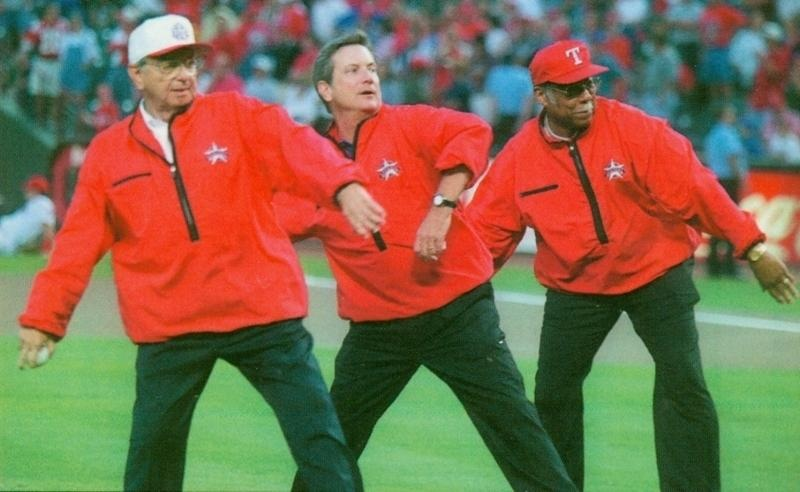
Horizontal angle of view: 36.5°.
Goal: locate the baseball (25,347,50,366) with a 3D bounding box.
[{"bbox_3d":[-3.156,0.974,10.632,0.140,0.160,0.043,18,-12,-16],"label":"baseball"}]
